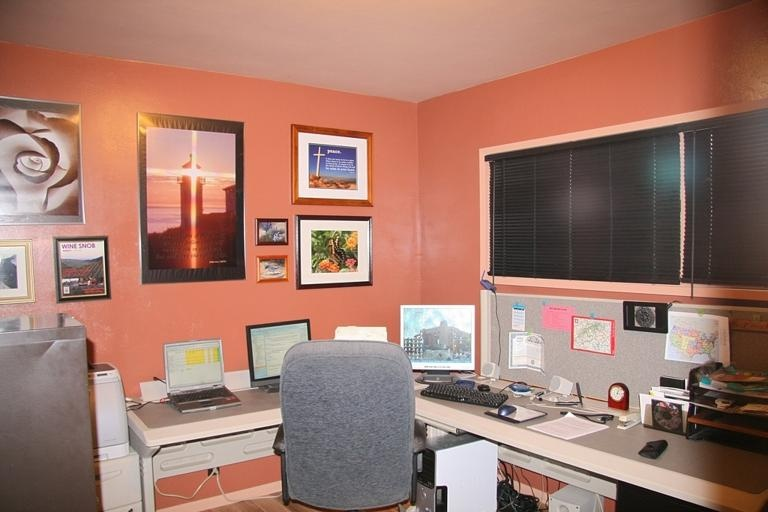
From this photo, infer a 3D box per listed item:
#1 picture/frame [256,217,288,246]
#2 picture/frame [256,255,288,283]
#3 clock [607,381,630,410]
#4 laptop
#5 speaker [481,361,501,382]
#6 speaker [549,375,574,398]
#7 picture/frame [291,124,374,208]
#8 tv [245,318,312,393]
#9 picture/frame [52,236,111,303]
[{"bbox_3d":[-0.903,-0.201,4.278,0.244,0.196,0.017,-1,5,-30],"label":"picture/frame"},{"bbox_3d":[-0.901,0.099,4.282,0.237,0.190,0.017,-1,5,-29],"label":"picture/frame"},{"bbox_3d":[1.550,0.919,3.523,0.073,0.227,0.160,7,-6,-38],"label":"clock"},{"bbox_3d":[-1.289,0.824,3.818,0.474,0.481,0.410,-3,0,-32],"label":"laptop"},{"bbox_3d":[0.815,0.888,4.166,0.137,0.133,0.140,-4,-4,-25],"label":"speaker"},{"bbox_3d":[1.247,0.913,3.789,0.131,0.124,0.165,18,-5,-34],"label":"speaker"},{"bbox_3d":[-0.458,-0.769,4.519,0.803,0.644,0.056,1,-1,-28],"label":"picture/frame"},{"bbox_3d":[-0.740,0.694,3.674,0.572,0.509,0.191,2,-6,-27],"label":"tv"},{"bbox_3d":[-2.084,0.089,3.667,0.478,0.607,0.066,-2,3,-28],"label":"picture/frame"}]
